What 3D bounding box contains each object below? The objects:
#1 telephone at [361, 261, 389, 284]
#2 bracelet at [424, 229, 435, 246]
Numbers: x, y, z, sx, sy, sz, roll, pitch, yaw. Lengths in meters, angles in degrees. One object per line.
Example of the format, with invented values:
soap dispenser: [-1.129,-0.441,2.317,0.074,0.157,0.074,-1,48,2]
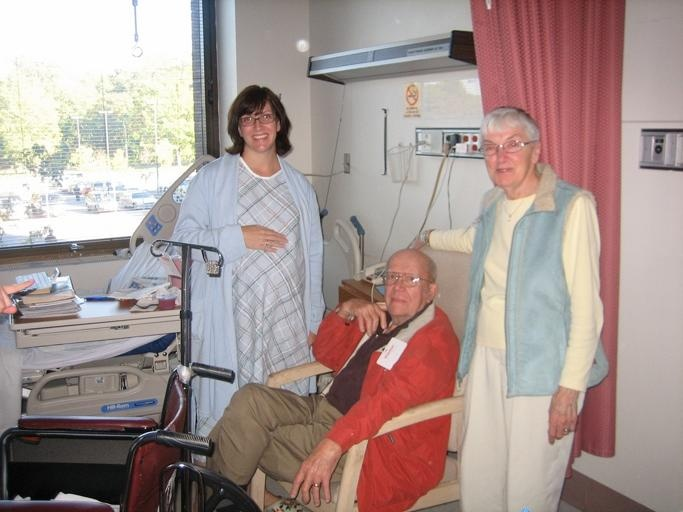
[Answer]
telephone: [0.176,0.113,3.279,0.127,0.079,0.123,-14,19,-34]
bracelet: [0.401,-0.083,2.471,0.055,0.064,0.025,-6,-22,41]
